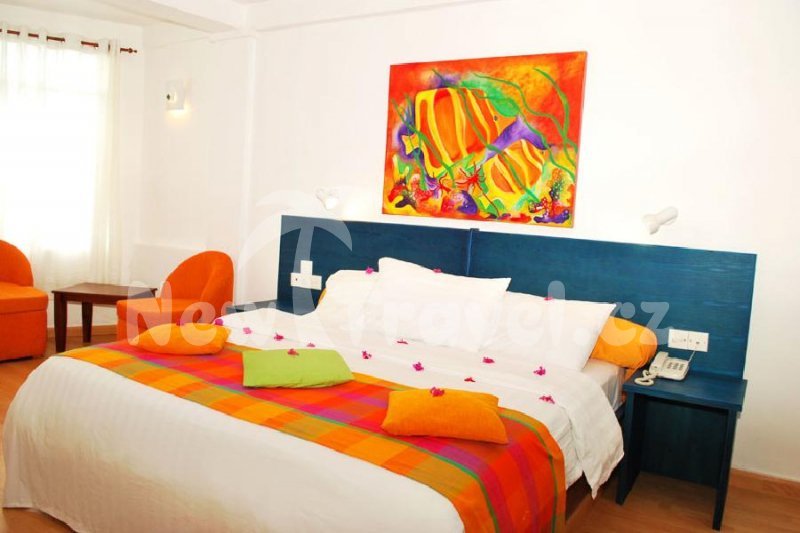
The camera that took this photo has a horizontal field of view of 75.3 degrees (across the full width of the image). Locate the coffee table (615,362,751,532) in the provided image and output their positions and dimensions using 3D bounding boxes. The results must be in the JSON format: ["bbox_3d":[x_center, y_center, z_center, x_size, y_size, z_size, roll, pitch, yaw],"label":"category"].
[{"bbox_3d":[1.765,1.079,3.313,0.648,0.623,0.648,11,7,29],"label":"coffee table"}]

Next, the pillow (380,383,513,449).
[{"bbox_3d":[0.205,0.681,2.423,0.415,0.118,0.290,1,5,4],"label":"pillow"}]

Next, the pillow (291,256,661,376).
[{"bbox_3d":[0.319,0.272,3.919,2.995,0.532,0.635,10,7,23],"label":"pillow"}]

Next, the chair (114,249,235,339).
[{"bbox_3d":[-2.108,0.339,4.931,0.974,0.940,0.957,-4,6,-38],"label":"chair"}]
